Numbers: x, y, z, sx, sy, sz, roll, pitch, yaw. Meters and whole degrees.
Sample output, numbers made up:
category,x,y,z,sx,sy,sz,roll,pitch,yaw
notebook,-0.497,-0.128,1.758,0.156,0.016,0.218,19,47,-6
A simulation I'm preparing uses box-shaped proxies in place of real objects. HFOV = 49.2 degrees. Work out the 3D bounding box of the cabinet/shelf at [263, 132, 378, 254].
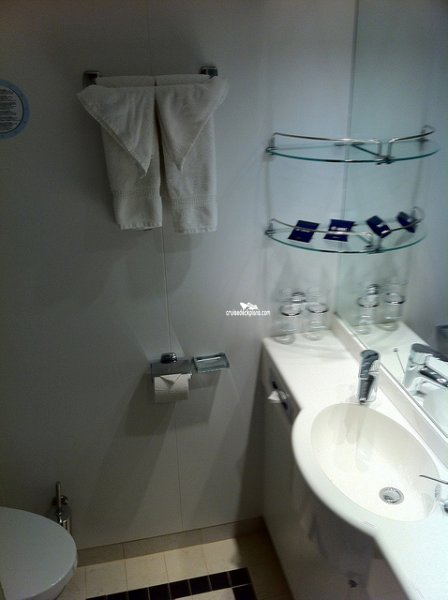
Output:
category,x,y,z,sx,sy,sz,roll,pitch,yaw
cabinet/shelf,0.277,-0.314,1.397,0.319,0.300,0.172,4,24,8

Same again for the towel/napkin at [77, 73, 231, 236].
category,x,y,z,sx,sy,sz,roll,pitch,yaw
towel/napkin,-0.157,-0.345,1.206,0.396,0.359,0.122,-4,22,-4

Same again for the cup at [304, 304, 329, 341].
category,x,y,z,sx,sy,sz,roll,pitch,yaw
cup,0.309,0.073,1.644,0.086,0.126,0.079,-3,31,2

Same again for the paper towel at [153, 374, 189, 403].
category,x,y,z,sx,sy,sz,roll,pitch,yaw
paper towel,-0.159,0.272,1.525,0.124,0.088,0.031,-1,22,-10

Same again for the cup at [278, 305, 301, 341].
category,x,y,z,sx,sy,sz,roll,pitch,yaw
cup,0.219,0.074,1.609,0.074,0.121,0.056,0,25,1

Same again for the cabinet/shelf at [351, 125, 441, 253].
category,x,y,z,sx,sy,sz,roll,pitch,yaw
cabinet/shelf,0.400,-0.300,1.226,0.266,0.267,0.257,-6,33,-1
